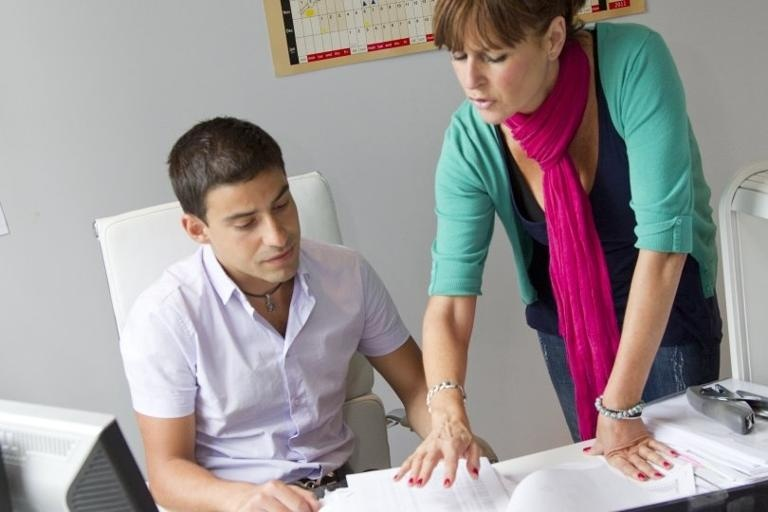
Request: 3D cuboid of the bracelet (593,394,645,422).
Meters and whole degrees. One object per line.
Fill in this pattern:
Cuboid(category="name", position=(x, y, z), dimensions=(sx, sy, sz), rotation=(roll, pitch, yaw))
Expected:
Cuboid(category="bracelet", position=(0.509, 0.320, 1.261), dimensions=(0.058, 0.020, 0.057), rotation=(-6, 20, -16))

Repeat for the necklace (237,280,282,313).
Cuboid(category="necklace", position=(-0.331, 0.117, 1.590), dimensions=(0.080, 0.033, 0.076), rotation=(-11, 37, -23))

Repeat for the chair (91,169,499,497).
Cuboid(category="chair", position=(-0.213, 0.143, 2.206), dimensions=(0.855, 1.416, 0.878), rotation=(-22, 4, -19))

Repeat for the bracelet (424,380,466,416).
Cuboid(category="bracelet", position=(0.148, 0.327, 1.401), dimensions=(0.088, 0.080, 0.132), rotation=(-6, 5, 5))
